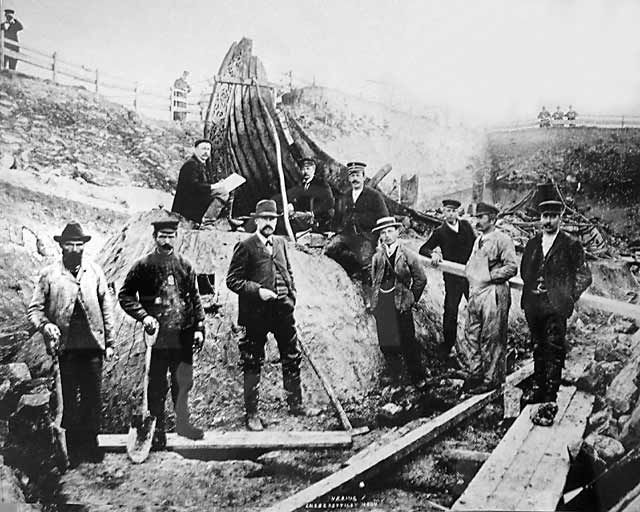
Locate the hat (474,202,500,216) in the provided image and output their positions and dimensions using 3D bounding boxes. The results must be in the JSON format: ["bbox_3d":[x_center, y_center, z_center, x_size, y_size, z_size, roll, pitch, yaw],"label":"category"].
[{"bbox_3d":[2.028,-0.541,6.970,0.184,0.102,0.160,2,-6,-16],"label":"hat"}]

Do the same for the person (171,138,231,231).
[{"bbox_3d":[-1.384,-0.828,6.660,0.628,0.976,0.324,0,8,-21],"label":"person"}]

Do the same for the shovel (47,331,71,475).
[{"bbox_3d":[-2.849,1.616,6.275,0.156,1.351,0.329,-3,10,-37],"label":"shovel"}]

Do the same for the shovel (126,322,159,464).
[{"bbox_3d":[-1.952,1.534,6.357,0.324,1.414,0.283,1,8,-12],"label":"shovel"}]

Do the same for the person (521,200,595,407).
[{"bbox_3d":[2.752,0.564,6.957,0.664,2.346,0.514,-4,11,-43],"label":"person"}]

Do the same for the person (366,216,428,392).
[{"bbox_3d":[0.936,0.540,6.824,0.707,1.891,0.328,4,8,4],"label":"person"}]

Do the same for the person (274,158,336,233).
[{"bbox_3d":[-0.151,-0.597,6.987,0.667,1.152,0.497,0,5,40],"label":"person"}]

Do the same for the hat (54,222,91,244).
[{"bbox_3d":[-2.762,-0.236,6.420,0.229,0.129,0.272,12,-18,-31],"label":"hat"}]

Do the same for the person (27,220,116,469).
[{"bbox_3d":[-2.686,0.946,6.372,0.837,2.499,0.467,6,8,22],"label":"person"}]
